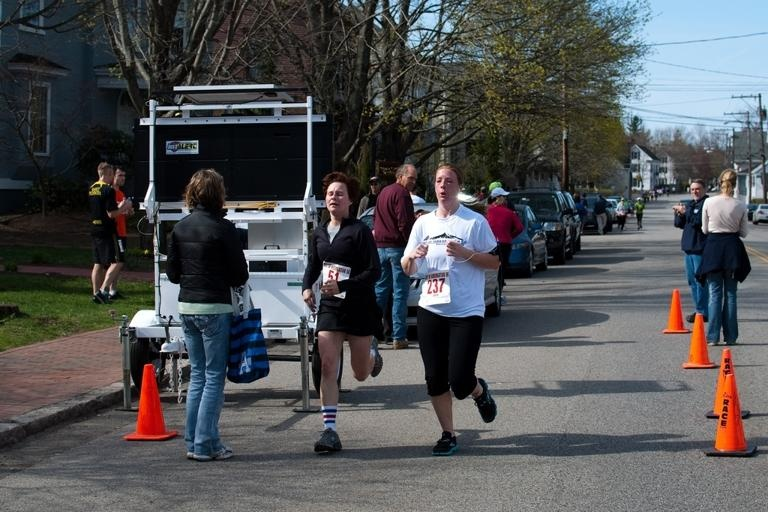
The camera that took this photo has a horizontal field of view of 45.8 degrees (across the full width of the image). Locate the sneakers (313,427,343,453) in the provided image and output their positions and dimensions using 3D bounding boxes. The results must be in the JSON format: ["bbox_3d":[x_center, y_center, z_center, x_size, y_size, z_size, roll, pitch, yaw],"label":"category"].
[{"bbox_3d":[-0.612,1.973,9.671,0.160,0.179,0.374,-3,-11,9],"label":"sneakers"}]

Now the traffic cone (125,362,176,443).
[{"bbox_3d":[-2.663,1.670,10.290,0.646,0.758,0.669,-7,-6,44],"label":"traffic cone"}]

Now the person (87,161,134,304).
[{"bbox_3d":[-5.190,-0.445,17.186,0.704,2.550,0.829,-2,6,-19],"label":"person"}]

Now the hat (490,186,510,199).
[{"bbox_3d":[2.332,-1.262,18.216,0.323,0.164,0.235,-9,12,-17],"label":"hat"}]

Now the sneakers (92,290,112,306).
[{"bbox_3d":[-5.251,0.771,17.013,0.153,0.188,0.417,26,5,25],"label":"sneakers"}]

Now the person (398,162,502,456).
[{"bbox_3d":[0.705,0.563,9.565,0.975,3.018,0.555,0,5,1],"label":"person"}]

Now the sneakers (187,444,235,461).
[{"bbox_3d":[-1.816,2.074,9.599,0.474,0.210,0.170,-3,3,-35],"label":"sneakers"}]

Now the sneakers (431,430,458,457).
[{"bbox_3d":[0.648,1.983,9.636,0.145,0.162,0.368,-3,-2,18],"label":"sneakers"}]

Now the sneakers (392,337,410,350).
[{"bbox_3d":[0.263,1.380,14.500,0.112,0.136,0.305,3,8,20],"label":"sneakers"}]

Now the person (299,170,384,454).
[{"bbox_3d":[-0.517,0.576,9.992,0.813,2.932,1.038,2,6,23],"label":"person"}]
